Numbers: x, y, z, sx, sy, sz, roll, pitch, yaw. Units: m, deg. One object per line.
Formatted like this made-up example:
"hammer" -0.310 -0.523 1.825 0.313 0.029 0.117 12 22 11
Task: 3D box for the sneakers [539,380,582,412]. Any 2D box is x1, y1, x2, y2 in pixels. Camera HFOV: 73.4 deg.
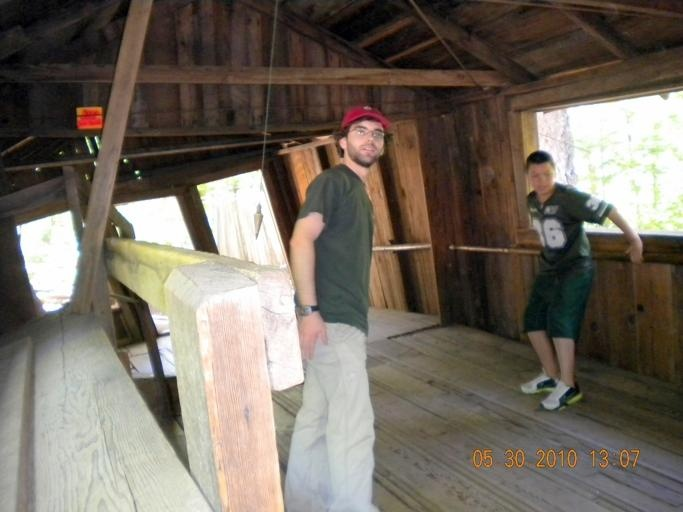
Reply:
"sneakers" 1.880 1.158 3.915 0.472 0.204 0.131 -9 11 -27

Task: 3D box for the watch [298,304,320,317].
"watch" -0.187 0.285 2.555 0.094 0.059 0.094 0 -2 -23

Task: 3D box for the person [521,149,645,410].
"person" 1.967 0.168 3.923 0.814 2.140 0.824 1 11 28

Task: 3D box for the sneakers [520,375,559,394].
"sneakers" 1.782 1.162 4.203 0.365 0.157 0.128 0 -3 -12
